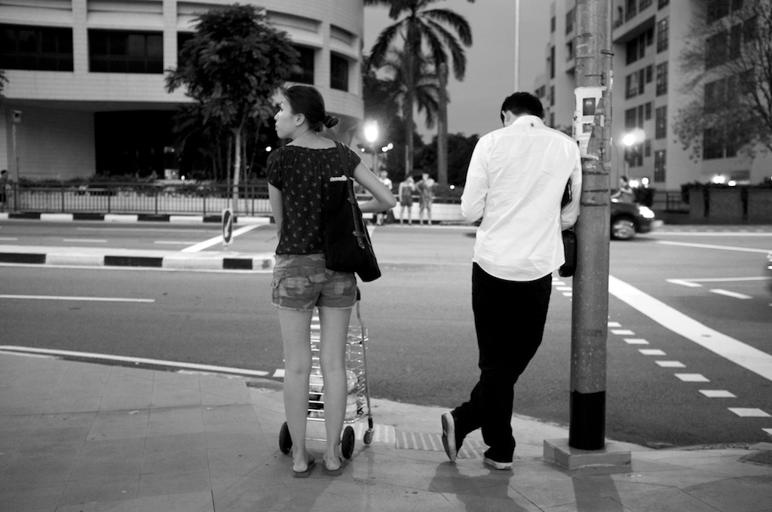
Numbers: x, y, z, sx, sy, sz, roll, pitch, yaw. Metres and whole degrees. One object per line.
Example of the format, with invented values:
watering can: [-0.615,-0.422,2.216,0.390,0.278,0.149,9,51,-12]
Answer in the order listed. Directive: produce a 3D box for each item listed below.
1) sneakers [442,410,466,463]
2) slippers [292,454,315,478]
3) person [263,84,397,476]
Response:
sneakers: [0.546,1.457,6.265,0.167,0.485,0.138,-3,-3,17]
slippers: [-0.623,1.592,5.892,0.072,0.089,0.215,5,22,5]
person: [-0.488,0.146,6.008,0.833,2.963,0.675,-2,7,-11]
